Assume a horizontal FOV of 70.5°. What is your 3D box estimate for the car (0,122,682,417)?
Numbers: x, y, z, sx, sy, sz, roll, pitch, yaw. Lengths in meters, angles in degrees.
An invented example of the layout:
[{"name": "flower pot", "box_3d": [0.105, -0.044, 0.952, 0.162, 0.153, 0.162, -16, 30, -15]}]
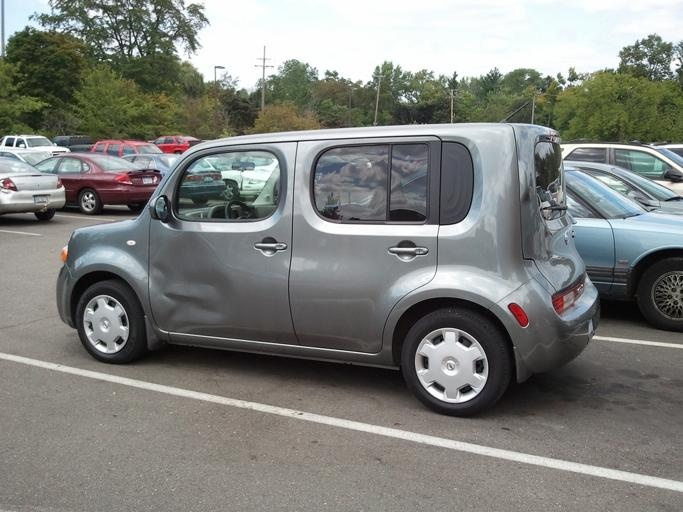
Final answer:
[{"name": "car", "box_3d": [-0.114, 0.069, 5.026, 4.046, 1.934, 2.437, 5, 5, 18]}]
